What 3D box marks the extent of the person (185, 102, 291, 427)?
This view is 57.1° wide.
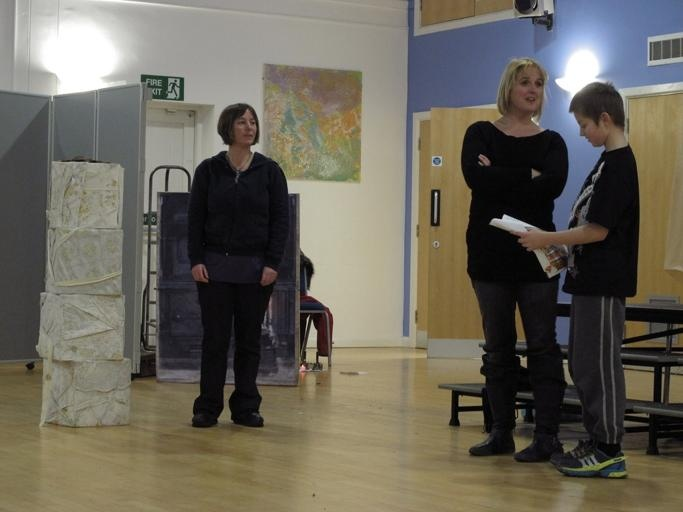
[{"bbox_3d":[-0.565,0.041,3.776,0.574,1.926,0.338,0,2,-15],"label":"person"}]

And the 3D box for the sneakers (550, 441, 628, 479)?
[{"bbox_3d":[1.085,0.926,2.886,0.333,0.183,0.135,4,-9,6],"label":"sneakers"}]

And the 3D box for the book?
[{"bbox_3d":[0.857,-0.058,2.885,0.237,0.333,0.108,-22,13,40],"label":"book"}]

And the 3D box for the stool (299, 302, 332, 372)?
[{"bbox_3d":[-0.194,0.806,6.418,0.319,0.746,0.987,1,3,-1],"label":"stool"}]

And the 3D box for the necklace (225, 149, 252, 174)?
[{"bbox_3d":[-0.565,-0.555,3.801,0.106,0.159,0.036,2,-8,-5],"label":"necklace"}]

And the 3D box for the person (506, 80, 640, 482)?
[{"bbox_3d":[1.096,0.101,2.880,0.409,1.802,0.294,2,2,24],"label":"person"}]
